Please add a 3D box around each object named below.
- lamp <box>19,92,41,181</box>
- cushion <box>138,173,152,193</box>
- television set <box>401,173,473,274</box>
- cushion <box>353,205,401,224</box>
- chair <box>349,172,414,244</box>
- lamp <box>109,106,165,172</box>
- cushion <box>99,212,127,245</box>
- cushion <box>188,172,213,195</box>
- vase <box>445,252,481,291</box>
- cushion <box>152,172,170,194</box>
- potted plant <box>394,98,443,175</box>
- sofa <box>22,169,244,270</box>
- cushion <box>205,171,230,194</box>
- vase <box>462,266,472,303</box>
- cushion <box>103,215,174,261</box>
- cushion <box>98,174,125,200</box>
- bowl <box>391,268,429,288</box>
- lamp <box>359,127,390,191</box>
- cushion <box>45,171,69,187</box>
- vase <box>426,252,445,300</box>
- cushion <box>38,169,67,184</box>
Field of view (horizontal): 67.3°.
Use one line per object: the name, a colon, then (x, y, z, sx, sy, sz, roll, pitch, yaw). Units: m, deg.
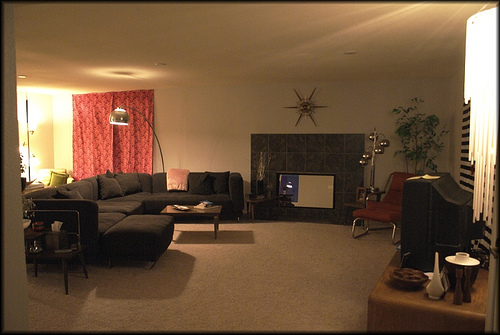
lamp: (-5.033, -0.833, 8.428, 0.331, 1.702, 0.637, -1, 12, -6)
cushion: (-2.177, 0.309, 7.793, 0.375, 0.327, 0.150, -3, -1, 35)
television set: (2.077, 0.528, 3.998, 0.553, 0.824, 1.029, 7, 11, 33)
cushion: (2.038, 0.741, 5.900, 0.420, 0.122, 0.381, 2, 7, -22)
chair: (2.387, 0.617, 6.181, 1.253, 0.926, 0.763, -7, 8, -36)
lamp: (-2.267, -0.513, 7.600, 0.666, 1.434, 1.674, 1, 11, 4)
cushion: (-1.988, 0.896, 5.426, 0.329, 0.210, 0.467, -2, 7, -13)
cushion: (-0.984, 0.334, 7.467, 0.440, 0.399, 0.163, -1, -20, 0)
vase: (1.861, 0.918, 3.261, 0.326, 0.314, 0.308, 4, -7, 4)
cushion: (-1.870, 0.321, 7.912, 0.376, 0.296, 0.360, 0, -4, -5)
potted plant: (3.088, -0.564, 6.796, 0.812, 1.378, 0.687, 6, 13, 25)
sofa: (-1.769, 0.678, 5.553, 1.980, 0.671, 2.134, 0, 2, -2)
cushion: (-0.634, 0.263, 7.593, 0.462, 0.406, 0.169, -5, 7, -40)
vase: (1.822, 0.953, 3.095, 0.071, 0.301, 0.137, 8, 14, 33)
cushion: (-1.560, 1.071, 5.372, 0.821, 0.423, 1.060, -1, -5, -2)
cushion: (-2.593, 0.327, 6.970, 0.138, 0.424, 0.476, -26, -11, 35)
bowl: (1.426, 0.963, 3.308, 0.181, 0.059, 0.175, -1, 6, 0)
lamp: (2.337, -0.129, 6.999, 0.492, 1.200, 0.742, 5, 12, 19)
cushion: (-4.314, 0.256, 8.319, 0.363, 0.391, 0.159, 2, -7, -23)
vase: (1.629, 0.904, 3.209, 0.136, 0.358, 0.304, 7, 13, 29)
cushion: (-4.667, 0.167, 8.721, 0.348, 0.396, 0.606, 2, 4, 26)
